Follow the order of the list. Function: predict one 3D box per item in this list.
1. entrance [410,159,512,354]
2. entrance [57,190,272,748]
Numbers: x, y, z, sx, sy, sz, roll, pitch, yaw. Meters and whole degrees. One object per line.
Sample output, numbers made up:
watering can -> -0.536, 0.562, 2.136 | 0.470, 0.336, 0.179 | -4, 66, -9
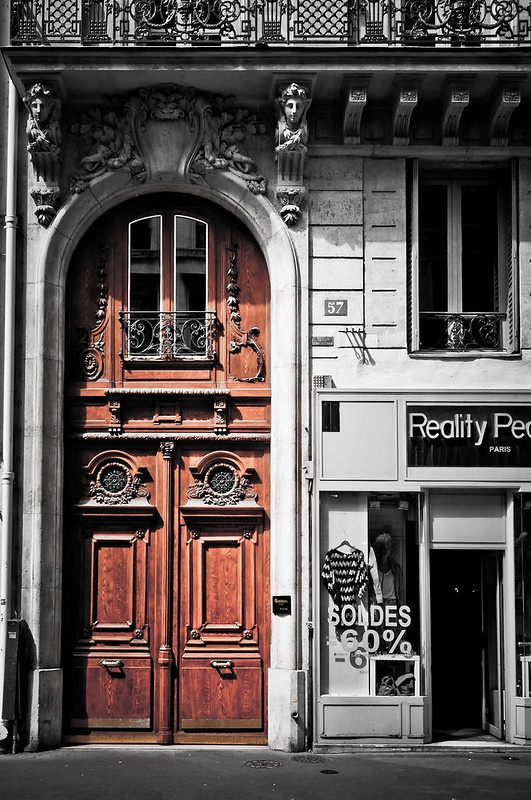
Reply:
entrance -> 2.053, -1.593, 17.076 | 1.099, 0.246, 2.521 | 3, -31, 10
entrance -> -1.029, 0.522, 17.021 | 2.068, 6.919, 0.460 | 2, -35, -6
